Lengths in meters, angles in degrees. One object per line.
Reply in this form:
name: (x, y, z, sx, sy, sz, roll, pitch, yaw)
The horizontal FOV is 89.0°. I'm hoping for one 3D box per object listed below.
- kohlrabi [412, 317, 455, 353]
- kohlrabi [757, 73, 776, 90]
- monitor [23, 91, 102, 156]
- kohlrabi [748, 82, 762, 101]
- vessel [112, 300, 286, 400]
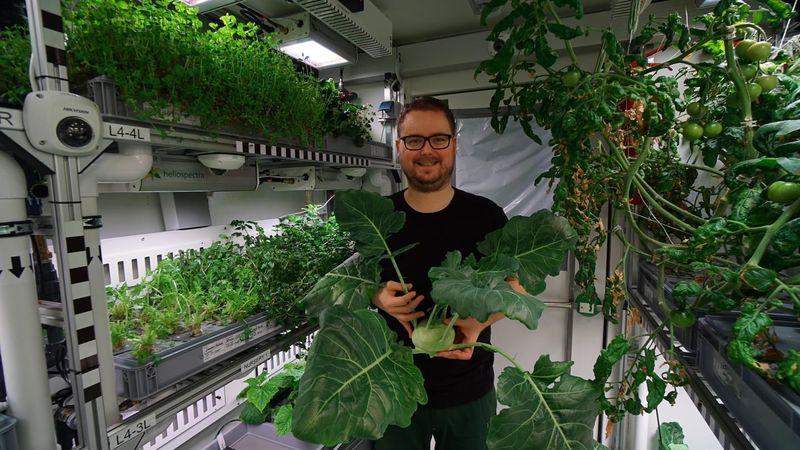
kohlrabi: (0.139, 0.419, 1.497, 0.159, 0.136, 0.116, 0, -3, -36)
kohlrabi: (1.312, -0.509, 1.449, 0.057, 0.051, 0.055, 9, -4, -36)
monitor: (-1.373, -0.430, 1.775, 0.318, 0.271, 0.172, 7, 5, 4)
kohlrabi: (1.272, -0.479, 1.454, 0.065, 0.053, 0.032, 0, -3, -42)
vessel: (-1.077, 0.677, 2.236, 0.476, 0.176, 0.832, -13, 0, 34)
